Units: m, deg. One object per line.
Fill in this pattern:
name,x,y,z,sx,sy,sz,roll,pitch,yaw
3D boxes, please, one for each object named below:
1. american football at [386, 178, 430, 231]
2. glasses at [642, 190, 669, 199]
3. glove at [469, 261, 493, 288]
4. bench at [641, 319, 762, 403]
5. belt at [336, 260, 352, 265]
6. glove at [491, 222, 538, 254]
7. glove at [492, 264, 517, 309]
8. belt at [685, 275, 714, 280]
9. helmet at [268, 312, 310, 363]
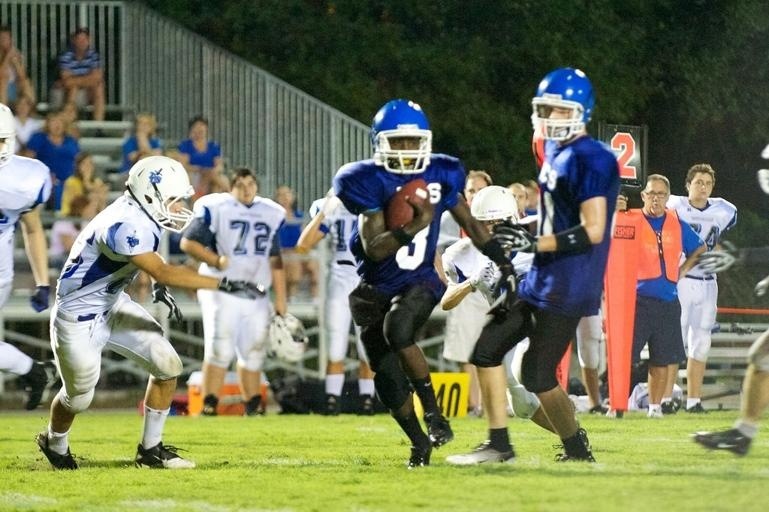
american football,0.193,-0.485,12.600,0.284,0.472,0.319,42,1,23
glasses,3.086,-0.680,15.346,0.290,0.105,0.186,1,-2,16
glove,0.964,0.193,13.127,0.245,0.191,0.082,-36,-67,29
bench,4.174,1.290,16.149,0.717,1.003,0.464,2,-2,-4
belt,-0.453,0.069,15.369,0.195,0.059,0.043,1,-2,17
glove,1.223,-0.191,12.431,0.330,0.119,0.247,22,-35,29
glove,1.169,0.287,12.686,0.128,0.373,0.266,5,-5,-37
belt,3.671,0.237,15.566,0.416,0.078,0.128,3,-2,-17
helmet,-1.061,0.887,14.785,0.347,0.585,0.364,0,0,-2
